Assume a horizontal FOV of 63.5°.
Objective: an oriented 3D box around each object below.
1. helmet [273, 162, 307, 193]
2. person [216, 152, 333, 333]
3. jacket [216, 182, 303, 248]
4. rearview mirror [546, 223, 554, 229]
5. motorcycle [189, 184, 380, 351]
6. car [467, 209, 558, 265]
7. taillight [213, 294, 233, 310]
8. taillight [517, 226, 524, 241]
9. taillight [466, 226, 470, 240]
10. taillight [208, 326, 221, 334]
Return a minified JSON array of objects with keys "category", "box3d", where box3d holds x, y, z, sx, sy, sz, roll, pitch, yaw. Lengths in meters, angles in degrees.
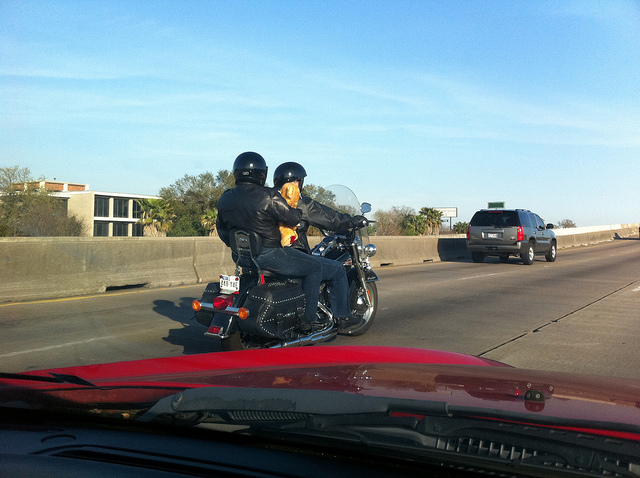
[{"category":"helmet","box3d":[-0.367,-0.759,6.526,0.491,0.525,0.429,-1,12,-8]},{"category":"person","box3d":[-0.521,0.042,6.018,1.302,2.131,0.788,-1,-3,-11]},{"category":"jacket","box3d":[-0.751,-0.294,5.944,0.979,0.829,0.556,-2,4,12]},{"category":"rearview mirror","box3d":[8.152,-0.474,18.324,0.138,0.186,0.153,-3,-19,12]},{"category":"motorcycle","box3d":[-0.067,0.358,6.474,1.010,1.960,2.885,7,7,41]},{"category":"car","box3d":[8.670,-0.117,21.660,5.221,2.246,2.106,0,-3,-31]},{"category":"taillight","box3d":[-1.039,0.677,5.585,0.180,0.133,0.096,-4,-8,20]},{"category":"taillight","box3d":[7.764,-0.237,19.944,0.320,0.558,0.101,0,-3,-29]},{"category":"taillight","box3d":[6.101,-0.274,21.177,0.091,0.541,0.344,-2,-3,15]},{"category":"taillight","box3d":[-1.124,0.953,5.483,0.171,0.068,0.037,-3,-3,31]}]
